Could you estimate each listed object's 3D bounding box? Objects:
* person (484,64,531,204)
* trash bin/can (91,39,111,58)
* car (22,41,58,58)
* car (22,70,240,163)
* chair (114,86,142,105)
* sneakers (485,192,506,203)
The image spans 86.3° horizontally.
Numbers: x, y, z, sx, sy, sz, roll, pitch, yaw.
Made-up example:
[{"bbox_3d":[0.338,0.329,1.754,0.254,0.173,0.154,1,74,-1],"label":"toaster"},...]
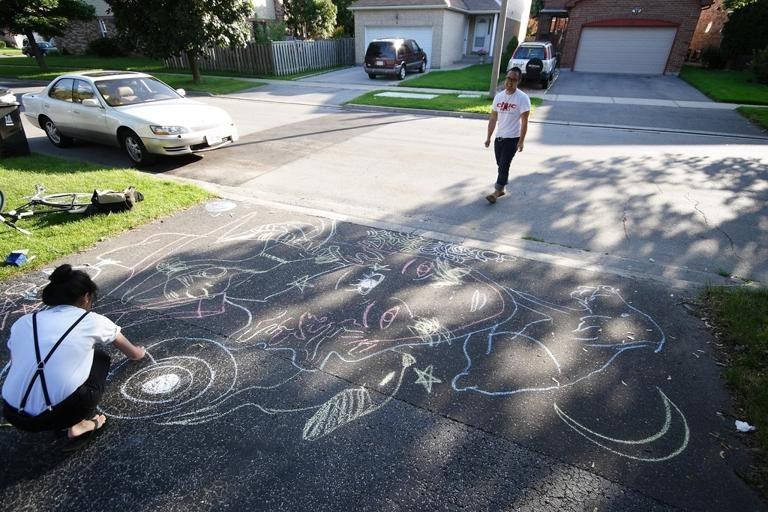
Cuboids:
[{"bbox_3d":[2.268,-2.219,7.599,0.670,2.342,1.042,7,28,11],"label":"person"},{"bbox_3d":[-21.074,-15.534,30.348,1.767,1.164,0.591,6,28,12],"label":"trash bin/can"},{"bbox_3d":[-28.790,-17.475,34.251,2.166,1.319,6.084,-17,30,-32],"label":"car"},{"bbox_3d":[-6.183,-3.404,9.914,4.711,1.892,1.776,14,29,26],"label":"car"},{"bbox_3d":[-5.967,-3.747,9.475,0.434,0.362,0.577,-14,29,-27],"label":"chair"},{"bbox_3d":[2.167,-1.171,7.879,0.159,0.235,0.510,55,29,10],"label":"sneakers"}]
